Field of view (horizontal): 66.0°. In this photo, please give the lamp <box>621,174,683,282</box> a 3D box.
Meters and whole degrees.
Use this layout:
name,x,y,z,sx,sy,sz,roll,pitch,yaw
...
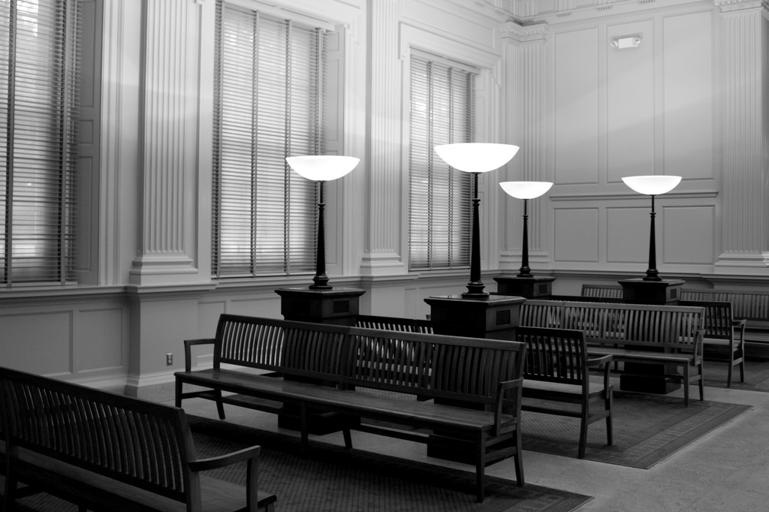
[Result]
name,x,y,z,sx,sy,sz,roll,pitch,yaw
lamp,4.002,-0.536,9.067,0.962,1.673,3.533,2,3,26
